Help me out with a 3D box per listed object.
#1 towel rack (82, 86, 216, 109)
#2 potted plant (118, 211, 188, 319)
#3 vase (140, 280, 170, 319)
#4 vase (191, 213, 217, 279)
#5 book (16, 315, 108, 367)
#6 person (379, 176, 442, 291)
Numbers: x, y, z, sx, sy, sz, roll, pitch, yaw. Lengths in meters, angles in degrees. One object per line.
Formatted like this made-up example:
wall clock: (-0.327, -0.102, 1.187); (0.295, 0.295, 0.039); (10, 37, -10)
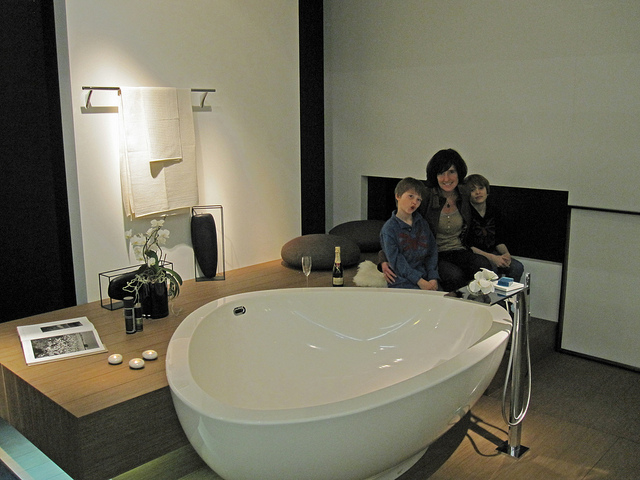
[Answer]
towel rack: (-1.173, -1.012, 3.429); (0.917, 0.144, 0.094); (-15, 16, -40)
potted plant: (-0.989, 0.173, 2.923); (0.424, 0.586, 0.382); (-4, 2, -28)
vase: (-1.009, 0.343, 2.919); (0.197, 0.232, 0.203); (0, 2, -2)
vase: (-0.864, 0.041, 3.699); (0.158, 0.489, 0.122); (-14, 16, -37)
book: (-1.338, 0.514, 2.522); (0.356, 0.119, 0.456); (-13, 14, -34)
person: (0.687, -0.044, 3.305); (0.451, 0.767, 0.331); (-12, 14, -31)
